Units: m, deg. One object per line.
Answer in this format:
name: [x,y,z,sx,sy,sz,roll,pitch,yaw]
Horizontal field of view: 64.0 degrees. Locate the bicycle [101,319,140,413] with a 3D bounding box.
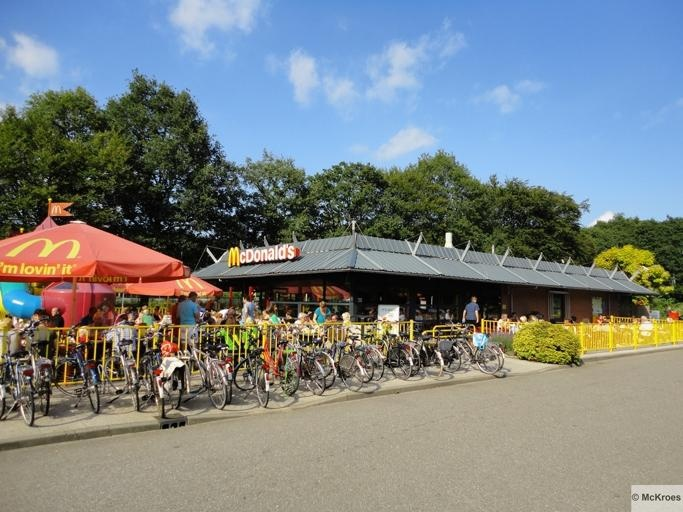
bicycle: [-4.779,2.312,11.811,0.718,1.535,2.359,0,1,-23]

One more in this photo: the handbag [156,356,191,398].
handbag: [-3.385,2.401,10.917,0.543,0.785,0.646,0,1,-19]

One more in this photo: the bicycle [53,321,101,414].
bicycle: [-5.678,2.309,11.734,0.857,1.531,3.049,0,1,-28]

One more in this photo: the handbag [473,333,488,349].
handbag: [4.130,2.534,16.378,0.407,0.433,0.182,8,9,-19]

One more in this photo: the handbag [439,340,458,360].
handbag: [3.096,2.744,16.166,0.496,0.654,0.560,1,1,31]
